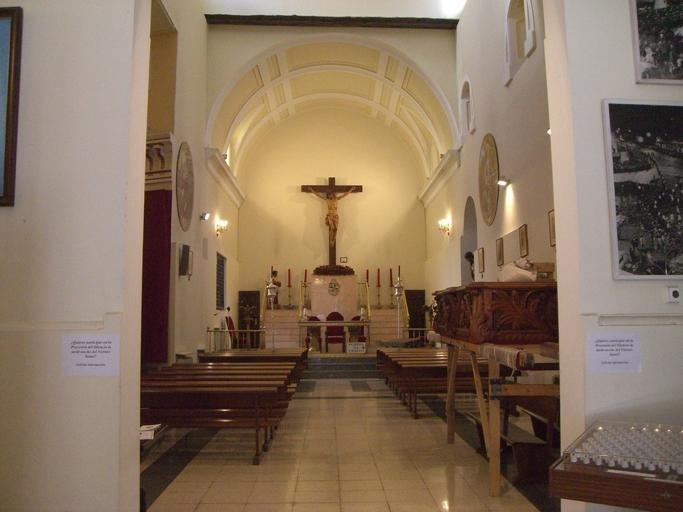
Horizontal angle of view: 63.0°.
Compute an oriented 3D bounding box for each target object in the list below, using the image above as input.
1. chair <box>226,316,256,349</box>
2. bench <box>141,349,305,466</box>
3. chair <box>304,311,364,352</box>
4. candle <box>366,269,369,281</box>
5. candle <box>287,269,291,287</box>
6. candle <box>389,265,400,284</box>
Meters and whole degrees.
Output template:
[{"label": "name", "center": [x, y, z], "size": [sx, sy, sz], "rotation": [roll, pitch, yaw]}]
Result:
[{"label": "chair", "center": [-2.731, 2.057, 14.739], "size": [0.601, 1.050, 0.763], "rotation": [-7, 4, -7]}, {"label": "bench", "center": [-1.381, 1.748, 6.691], "size": [1.605, 0.771, 2.686], "rotation": [0, -3, -3]}, {"label": "chair", "center": [-0.185, 1.990, 14.029], "size": [1.517, 1.008, 3.191], "rotation": [0, -3, -2]}, {"label": "candle", "center": [0.783, 0.574, 16.904], "size": [0.143, 0.345, 0.081], "rotation": [2, -3, -38]}, {"label": "candle", "center": [-1.565, 0.668, 16.748], "size": [0.089, 0.583, 0.137], "rotation": [0, -3, -14]}, {"label": "candle", "center": [1.622, 0.602, 16.901], "size": [0.349, 0.649, 0.238], "rotation": [0, -3, 5]}]
